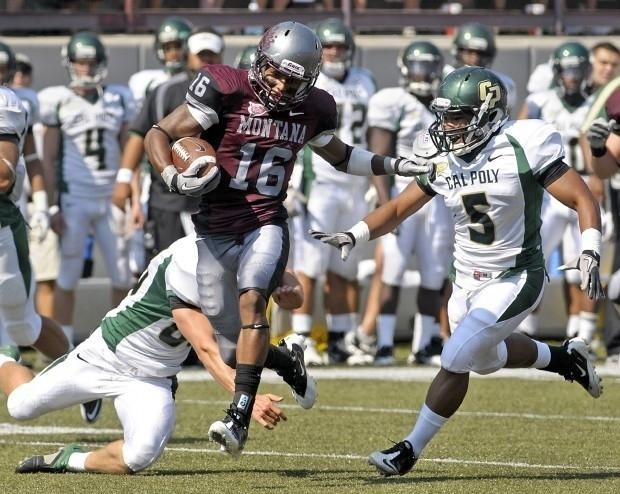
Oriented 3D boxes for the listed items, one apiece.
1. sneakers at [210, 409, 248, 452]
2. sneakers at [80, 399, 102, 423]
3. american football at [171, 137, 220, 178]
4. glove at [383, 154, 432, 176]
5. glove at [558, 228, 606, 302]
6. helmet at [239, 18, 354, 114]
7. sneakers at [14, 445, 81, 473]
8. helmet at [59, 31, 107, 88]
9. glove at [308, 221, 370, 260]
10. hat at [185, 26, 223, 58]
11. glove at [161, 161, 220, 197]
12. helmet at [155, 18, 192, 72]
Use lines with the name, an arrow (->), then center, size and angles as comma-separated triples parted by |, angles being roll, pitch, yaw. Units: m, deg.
sneakers -> -0.335, 0.769, 4.175 | 0.089, 0.125, 0.251 | 40, -10, 9
sneakers -> -1.154, 0.859, 5.282 | 0.046, 0.135, 0.130 | 22, 20, 38
american football -> -0.515, -0.400, 4.377 | 0.150, 0.191, 0.206 | -10, 50, -26
glove -> 0.482, -0.393, 4.864 | 0.114, 0.059, 0.143 | 4, 4, -31
glove -> 1.268, 0.095, 4.649 | 0.253, 0.304, 0.098 | 7, -4, -8
helmet -> -0.088, -0.864, 4.568 | 0.291, 0.325, 0.423 | 24, 45, -6
sneakers -> -1.193, 0.977, 4.638 | 0.314, 0.146, 0.109 | 8, -5, -12
helmet -> -1.825, -1.549, 8.182 | 0.342, 0.414, 0.441 | -5, 46, -12
glove -> 0.167, -0.054, 4.851 | 0.271, 0.088, 0.198 | -14, -13, -21
hat -> -0.827, -1.580, 7.725 | 0.408, 0.245, 0.588 | -2, 10, -4
glove -> -0.523, -0.313, 4.327 | 0.261, 0.174, 0.180 | 6, 7, -1
helmet -> -1.157, -1.747, 8.455 | 0.329, 0.462, 0.457 | 1, 40, -10
